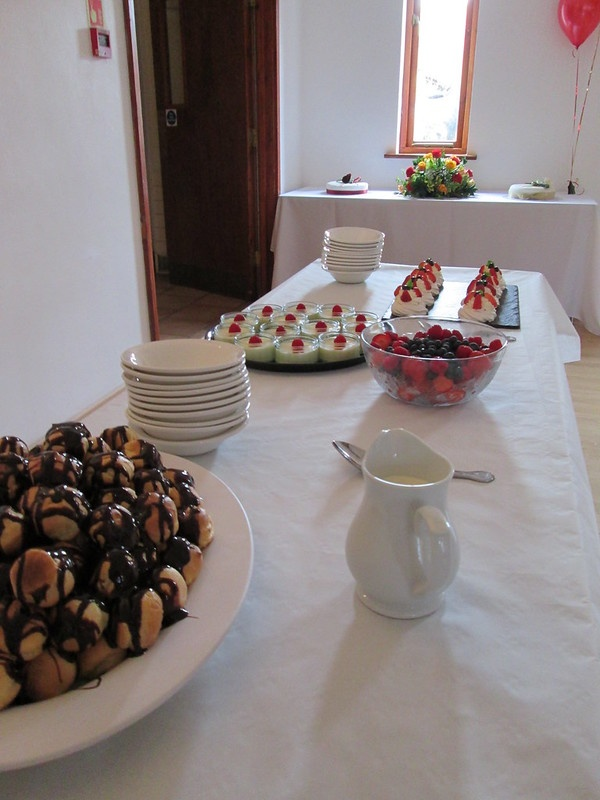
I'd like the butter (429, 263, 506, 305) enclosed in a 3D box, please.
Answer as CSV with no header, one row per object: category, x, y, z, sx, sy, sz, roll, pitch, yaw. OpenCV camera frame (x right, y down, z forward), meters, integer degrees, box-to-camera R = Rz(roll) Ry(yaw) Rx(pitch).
butter,0.465,-0.314,1.591,0.169,0.053,0.165,2,28,8

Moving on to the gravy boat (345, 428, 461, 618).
gravy boat,0.087,0.110,0.497,0.099,0.136,0.104,17,29,32

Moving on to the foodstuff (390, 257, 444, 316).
foodstuff,0.295,-0.292,1.538,0.102,0.092,0.292,3,24,15
